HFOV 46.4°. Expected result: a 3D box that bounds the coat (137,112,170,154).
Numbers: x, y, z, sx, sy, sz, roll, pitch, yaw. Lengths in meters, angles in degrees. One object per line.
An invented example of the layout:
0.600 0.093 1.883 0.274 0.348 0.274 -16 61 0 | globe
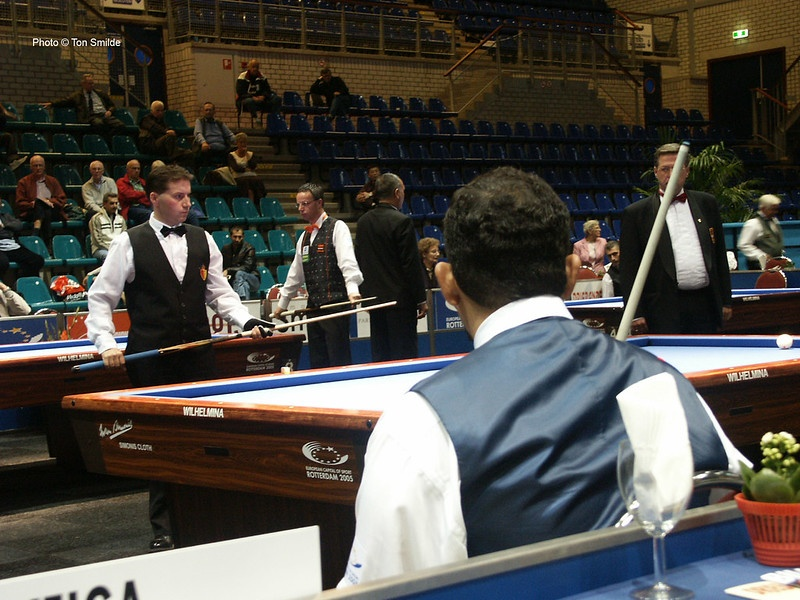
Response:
-3.536 -2.366 13.516 0.496 0.606 0.347 -7 11 -14 | coat

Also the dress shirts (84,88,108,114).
-4.490 -2.898 13.719 0.288 0.393 0.209 -19 -9 -42 | dress shirts

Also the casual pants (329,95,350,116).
-1.006 -3.299 15.915 0.227 0.462 0.155 6 -7 -17 | casual pants

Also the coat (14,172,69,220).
-4.422 -1.281 11.469 0.554 0.598 0.331 -4 -7 -25 | coat

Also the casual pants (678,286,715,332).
1.835 0.046 5.745 0.235 0.429 0.120 0 10 1 | casual pants

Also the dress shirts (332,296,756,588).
0.226 0.305 2.065 0.754 0.566 0.299 -9 12 -21 | dress shirts

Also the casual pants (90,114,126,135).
-4.244 -2.535 13.584 0.522 0.299 0.319 -11 12 -27 | casual pants

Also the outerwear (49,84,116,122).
-4.804 -2.925 14.003 0.981 0.336 0.988 -9 45 -42 | outerwear

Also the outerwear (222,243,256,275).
-1.966 -0.497 11.418 0.372 0.409 0.397 -1 13 11 | outerwear
